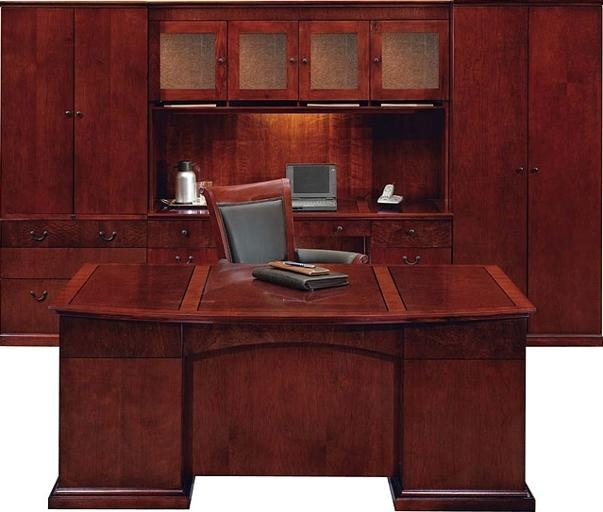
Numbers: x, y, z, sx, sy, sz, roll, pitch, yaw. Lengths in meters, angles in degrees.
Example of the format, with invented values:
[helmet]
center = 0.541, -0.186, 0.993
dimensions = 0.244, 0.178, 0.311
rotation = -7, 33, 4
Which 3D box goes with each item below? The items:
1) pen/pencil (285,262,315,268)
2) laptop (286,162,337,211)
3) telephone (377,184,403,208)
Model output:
[pen/pencil]
center = -0.014, 0.039, 2.815
dimensions = 0.102, 0.012, 0.023
rotation = 4, 22, 43
[laptop]
center = 0.078, -0.489, 4.404
dimensions = 0.433, 0.398, 0.304
rotation = 0, 3, -1
[telephone]
center = 0.615, -0.422, 4.467
dimensions = 0.145, 0.068, 0.188
rotation = -1, 29, 10
